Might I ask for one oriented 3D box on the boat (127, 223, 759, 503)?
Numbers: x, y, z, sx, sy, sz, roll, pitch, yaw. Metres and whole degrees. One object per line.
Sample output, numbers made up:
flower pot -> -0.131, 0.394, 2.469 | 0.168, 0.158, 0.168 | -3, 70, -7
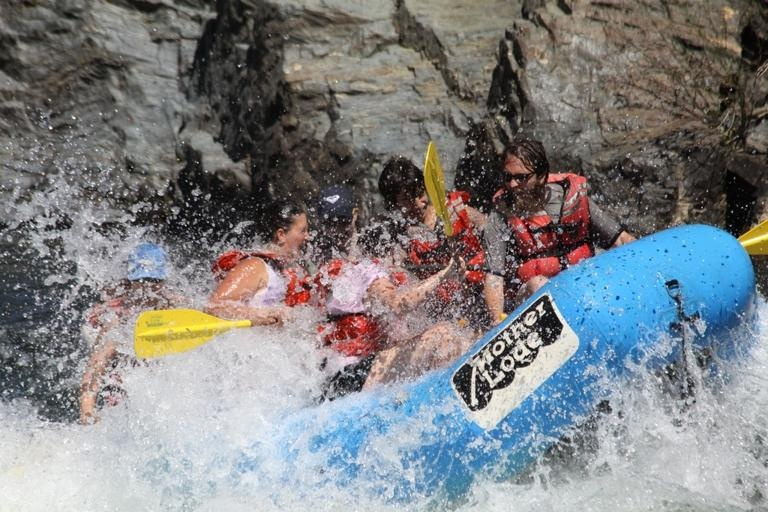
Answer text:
boat -> 0.827, 0.535, 6.960 | 3.692, 1.981, 0.788 | -27, 71, 17
